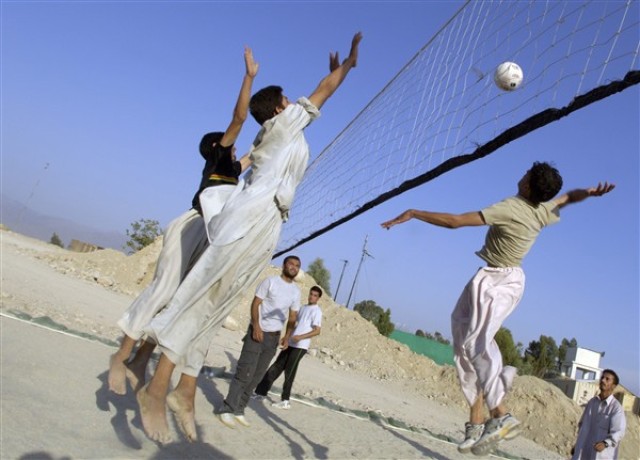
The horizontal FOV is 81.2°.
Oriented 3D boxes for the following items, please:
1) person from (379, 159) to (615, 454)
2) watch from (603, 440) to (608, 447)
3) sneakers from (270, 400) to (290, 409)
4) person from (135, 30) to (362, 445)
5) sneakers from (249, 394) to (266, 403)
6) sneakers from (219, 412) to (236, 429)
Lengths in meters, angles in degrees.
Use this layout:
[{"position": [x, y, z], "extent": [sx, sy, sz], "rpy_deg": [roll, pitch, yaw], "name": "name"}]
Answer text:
[{"position": [1.648, 0.654, 3.710], "extent": [1.030, 2.864, 0.758], "rpy_deg": [16, -14, 10], "name": "person"}, {"position": [4.404, 3.322, 5.804], "extent": [0.049, 0.085, 0.076], "rpy_deg": [-2, -5, -9], "name": "watch"}, {"position": [-0.682, 2.848, 6.196], "extent": [0.349, 0.184, 0.133], "rpy_deg": [2, -5, 6], "name": "sneakers"}, {"position": [-0.598, -0.230, 3.228], "extent": [0.785, 2.712, 0.725], "rpy_deg": [23, -14, -21], "name": "person"}, {"position": [-1.043, 2.788, 6.237], "extent": [0.261, 0.129, 0.101], "rpy_deg": [12, -11, -8], "name": "sneakers"}, {"position": [-1.132, 2.401, 4.684], "extent": [0.107, 0.100, 0.296], "rpy_deg": [-24, -54, 19], "name": "sneakers"}]
